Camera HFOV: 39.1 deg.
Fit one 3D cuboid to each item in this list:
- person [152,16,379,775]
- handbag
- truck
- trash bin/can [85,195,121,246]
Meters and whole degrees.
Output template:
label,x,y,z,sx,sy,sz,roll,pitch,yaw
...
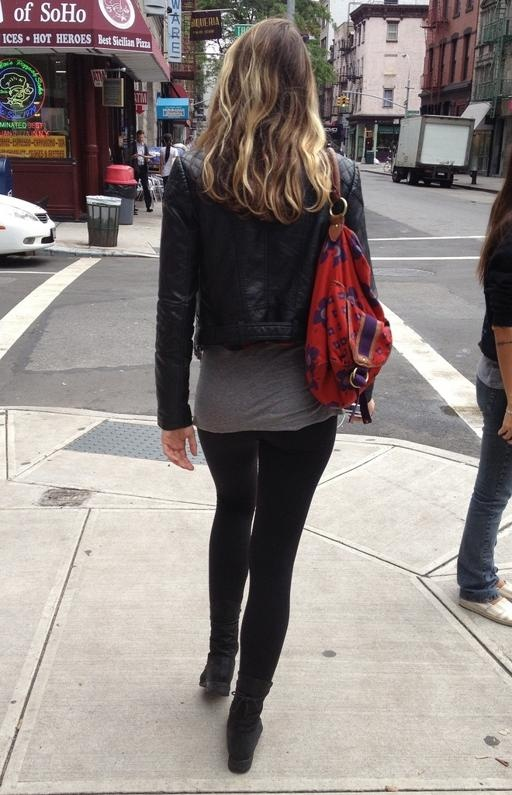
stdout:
label,x,y,z,sx,sy,sz,roll,pitch,yaw
person,0.004,0.036,1.793,0.523,1.837,0.378,5,14,9
handbag,0.219,-0.218,1.675,0.197,0.477,0.144,3,14,2
truck,10.083,-14.197,41.051,2.711,3.074,5.601,2,22,-3
trash bin/can,-2.913,-3.425,13.962,0.903,1.013,0.853,-3,21,-17
